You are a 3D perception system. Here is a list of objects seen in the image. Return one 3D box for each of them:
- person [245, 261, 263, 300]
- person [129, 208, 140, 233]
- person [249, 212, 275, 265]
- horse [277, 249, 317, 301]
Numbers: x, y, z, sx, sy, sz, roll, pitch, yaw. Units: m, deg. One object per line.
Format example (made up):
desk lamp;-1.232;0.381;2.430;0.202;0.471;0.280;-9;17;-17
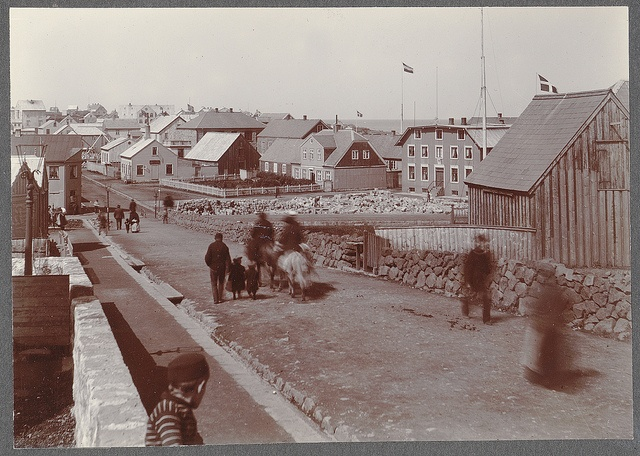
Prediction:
person;-2.277;1.719;21.574;0.418;1.132;0.792;2;3;-1
person;-11.040;-0.451;38.764;0.761;1.595;1.115;-6;15;-24
person;-2.027;0.391;22.238;0.603;1.356;2.158;4;24;-11
horse;-0.810;1.375;21.436;1.078;1.798;1.901;2;3;-2
